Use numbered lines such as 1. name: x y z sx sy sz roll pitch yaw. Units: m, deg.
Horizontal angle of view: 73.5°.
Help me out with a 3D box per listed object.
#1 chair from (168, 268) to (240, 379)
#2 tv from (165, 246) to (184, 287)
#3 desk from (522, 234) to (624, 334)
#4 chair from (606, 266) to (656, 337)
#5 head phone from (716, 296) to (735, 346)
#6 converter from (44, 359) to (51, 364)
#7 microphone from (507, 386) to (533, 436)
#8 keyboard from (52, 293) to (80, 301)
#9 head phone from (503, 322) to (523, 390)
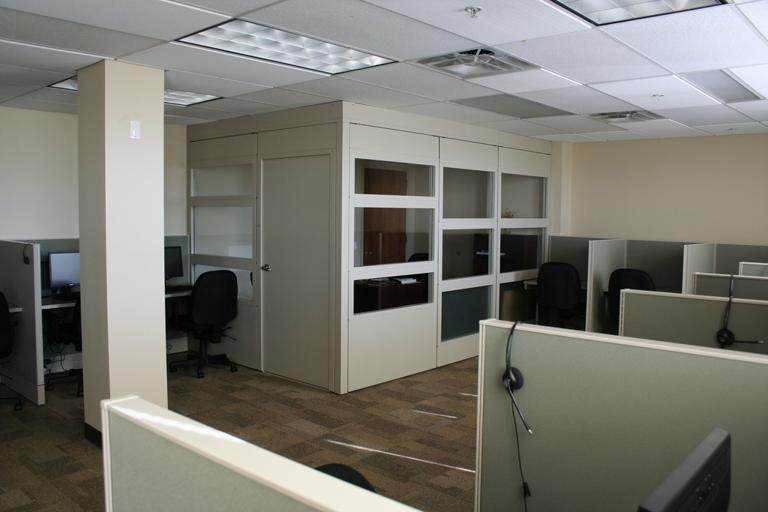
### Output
1. chair: -2.002 0.711 5.778 0.752 1.121 0.738 0 0 -2
2. tv: -2.466 0.102 6.095 0.298 0.330 0.075 5 9 26
3. desk: 2.378 0.408 6.373 1.017 1.317 1.778 5 10 24
4. chair: 2.700 0.544 5.821 0.332 0.852 0.568 -1 9 -8
5. head phone: 2.219 0.437 3.346 0.076 0.323 0.079 -1 9 -9
6. converter: -3.569 1.121 5.475 0.055 0.039 0.055 0 -1 29
7. microphone: 0.677 0.762 2.548 0.064 0.264 0.046 -26 -5 29
8. keyboard: -3.212 0.418 5.244 0.164 0.039 0.162 -1 2 2
9. head phone: 0.637 0.502 2.556 0.092 0.337 0.102 0 9 -5
